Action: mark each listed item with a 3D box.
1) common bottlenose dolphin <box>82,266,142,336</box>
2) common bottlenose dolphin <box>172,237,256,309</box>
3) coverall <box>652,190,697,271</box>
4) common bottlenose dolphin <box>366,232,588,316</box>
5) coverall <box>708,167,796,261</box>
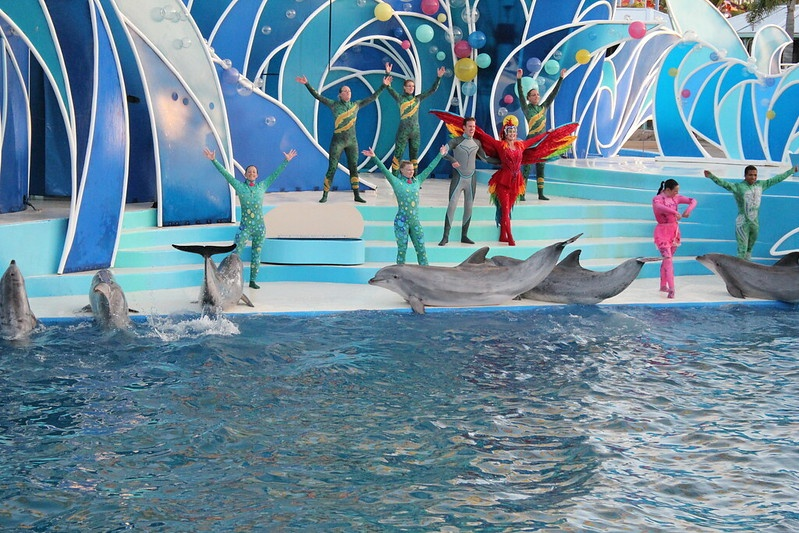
[{"bbox_3d":[-3.125,0.363,8.028,0.395,0.683,0.349,-12,3,-14],"label":"common bottlenose dolphin"},{"bbox_3d":[-2.071,0.101,8.701,0.588,0.652,1.198,0,16,6],"label":"common bottlenose dolphin"},{"bbox_3d":[3.633,-0.547,9.781,0.497,0.904,0.493,0,9,18],"label":"coverall"},{"bbox_3d":[0.842,0.088,9.232,3.240,1.004,0.924,1,-6,-5],"label":"common bottlenose dolphin"},{"bbox_3d":[5.380,-0.739,11.261,1.829,1.555,0.348,-5,17,1],"label":"coverall"}]
